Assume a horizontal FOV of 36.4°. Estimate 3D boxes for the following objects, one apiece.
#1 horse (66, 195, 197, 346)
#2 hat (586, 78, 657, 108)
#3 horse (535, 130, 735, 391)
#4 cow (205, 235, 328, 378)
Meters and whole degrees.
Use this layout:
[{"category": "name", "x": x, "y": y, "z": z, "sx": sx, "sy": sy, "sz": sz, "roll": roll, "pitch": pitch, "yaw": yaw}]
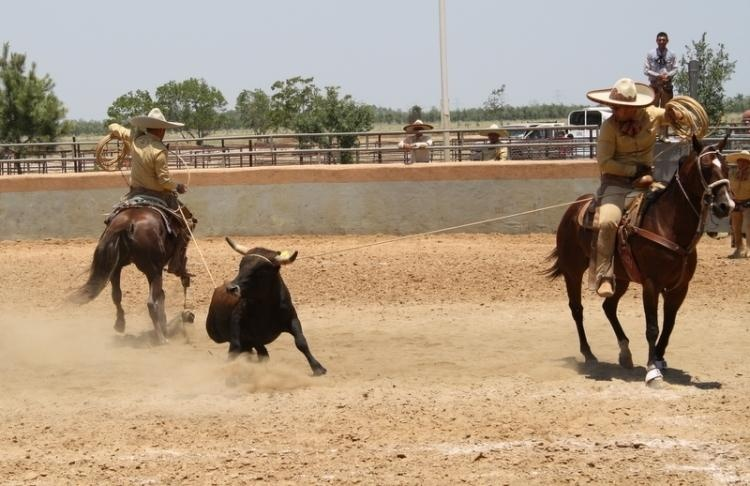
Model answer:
[{"category": "horse", "x": -4.186, "y": 0.398, "z": 19.831, "sx": 2.062, "sy": 2.400, "sz": 1.150, "roll": -4, "pitch": 8, "yaw": -24}, {"category": "hat", "x": 3.835, "y": -2.355, "z": 17.873, "sx": 0.996, "sy": 0.411, "sz": 0.657, "roll": 1, "pitch": 7, "yaw": 12}, {"category": "horse", "x": 4.170, "y": 0.159, "z": 17.859, "sx": 0.930, "sy": 3.651, "sz": 2.709, "roll": -8, "pitch": 10, "yaw": -43}, {"category": "cow", "x": -1.822, "y": 0.991, "z": 17.765, "sx": 1.759, "sy": 2.169, "sz": 0.833, "roll": 0, "pitch": 7, "yaw": 3}]
